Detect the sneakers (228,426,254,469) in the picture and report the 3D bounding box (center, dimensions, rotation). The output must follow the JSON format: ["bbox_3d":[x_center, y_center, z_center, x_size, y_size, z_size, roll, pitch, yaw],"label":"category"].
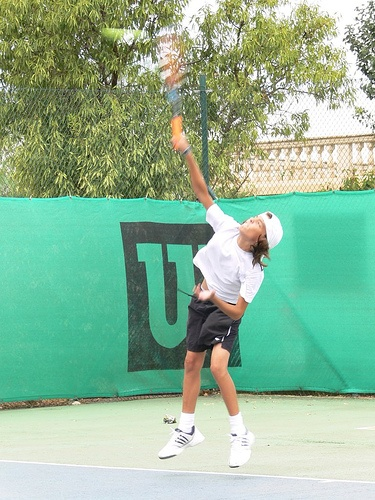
[{"bbox_3d":[0.262,0.955,3.241,0.076,0.099,0.227,-17,21,29],"label":"sneakers"}]

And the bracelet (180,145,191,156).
[{"bbox_3d":[-0.005,-0.519,3.409,0.044,0.045,0.034,-1,-9,41],"label":"bracelet"}]

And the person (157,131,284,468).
[{"bbox_3d":[0.111,0.233,3.384,0.577,1.765,0.560,8,6,31],"label":"person"}]
